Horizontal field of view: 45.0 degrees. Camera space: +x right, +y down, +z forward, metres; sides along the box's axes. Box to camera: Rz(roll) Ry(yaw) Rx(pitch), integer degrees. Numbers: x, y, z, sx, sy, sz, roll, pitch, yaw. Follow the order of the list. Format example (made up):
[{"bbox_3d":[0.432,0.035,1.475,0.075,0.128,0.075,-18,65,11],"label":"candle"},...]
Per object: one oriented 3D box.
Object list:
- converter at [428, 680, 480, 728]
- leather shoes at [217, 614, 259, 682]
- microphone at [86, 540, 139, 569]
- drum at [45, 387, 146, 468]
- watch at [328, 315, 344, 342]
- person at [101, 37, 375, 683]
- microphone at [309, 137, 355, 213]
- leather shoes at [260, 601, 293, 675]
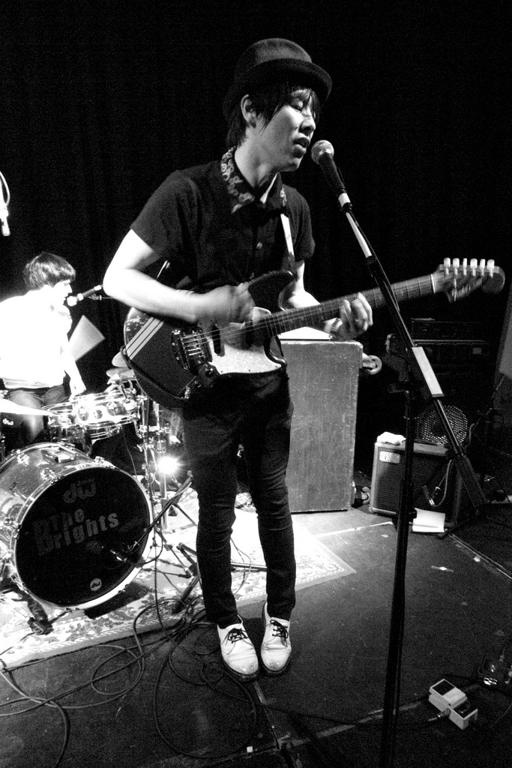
[{"bbox_3d":[0.563,0.913,1.770,0.083,0.057,0.127,-10,21,-33],"label":"converter"},{"bbox_3d":[-0.068,0.814,1.941,0.096,0.091,0.259,-1,10,-17],"label":"leather shoes"},{"bbox_3d":[-0.501,0.607,2.188,0.136,0.096,0.050,14,-3,-24],"label":"microphone"},{"bbox_3d":[-0.694,0.173,2.632,0.341,0.305,0.336,-10,26,-38],"label":"drum"},{"bbox_3d":[0.222,-0.156,1.717,0.054,0.057,0.041,8,-10,-37],"label":"watch"},{"bbox_3d":[-0.040,-0.046,1.735,0.695,1.643,0.486,-3,4,-29],"label":"person"},{"bbox_3d":[0.191,-0.541,1.554,0.073,0.252,0.065,-18,-9,-17],"label":"microphone"},{"bbox_3d":[0.066,0.795,1.973,0.082,0.095,0.256,7,24,-1],"label":"leather shoes"}]
